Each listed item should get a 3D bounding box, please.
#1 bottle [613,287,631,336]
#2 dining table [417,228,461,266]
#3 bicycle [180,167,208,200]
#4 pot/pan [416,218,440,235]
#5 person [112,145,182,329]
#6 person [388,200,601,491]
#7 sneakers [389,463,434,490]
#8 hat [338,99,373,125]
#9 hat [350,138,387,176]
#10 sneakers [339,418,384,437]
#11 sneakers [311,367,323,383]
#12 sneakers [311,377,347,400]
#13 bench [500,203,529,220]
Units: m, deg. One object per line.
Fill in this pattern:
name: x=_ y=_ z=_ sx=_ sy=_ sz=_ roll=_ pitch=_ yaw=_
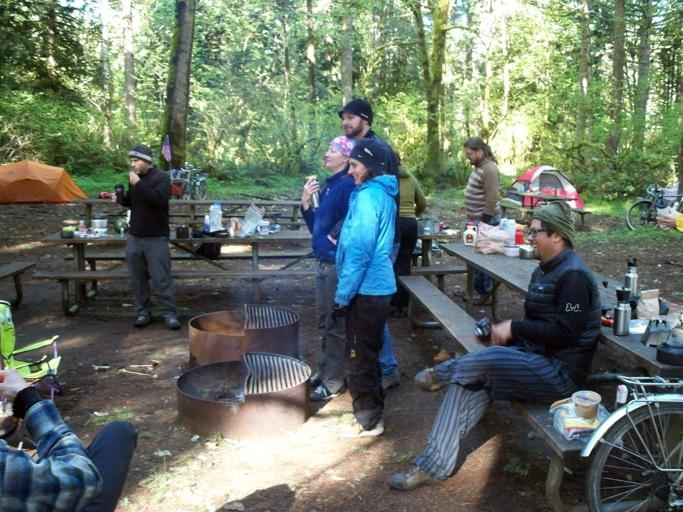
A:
bottle: x=2.006 y=0.382 z=4.040 sx=0.117 sy=0.305 sz=0.327 roll=7 pitch=16 yaw=26
dining table: x=1.517 y=-0.174 z=8.230 sx=0.802 sy=0.637 sz=0.729 roll=0 pitch=6 yaw=0
bicycle: x=-4.214 y=-2.077 z=16.422 sx=0.951 sy=0.782 sz=1.402 roll=1 pitch=6 yaw=3
pot/pan: x=1.214 y=-0.406 z=7.931 sx=0.313 sy=0.193 sz=0.201 roll=1 pitch=12 yaw=7
person: x=-2.312 y=-0.208 z=6.892 sx=0.581 sy=2.228 sz=0.466 roll=-2 pitch=16 yaw=-5
person: x=1.137 y=0.607 z=4.017 sx=1.280 sy=1.923 sz=0.572 roll=-3 pitch=16 yaw=-9
sneakers: x=0.480 y=1.540 z=3.961 sx=0.340 sy=0.118 sz=0.140 roll=0 pitch=5 yaw=-14
hat: x=0.180 y=-1.385 z=5.366 sx=0.324 sy=0.175 sz=0.218 roll=10 pitch=2 yaw=-17
hat: x=0.238 y=-0.775 z=4.427 sx=0.300 sy=0.287 sz=0.145 roll=-8 pitch=17 yaw=-28
sneakers: x=0.165 y=1.396 z=4.636 sx=0.361 sy=0.126 sz=0.130 roll=2 pitch=-1 yaw=2
sneakers: x=-0.224 y=1.141 z=5.404 sx=0.085 sy=0.124 sz=0.052 roll=13 pitch=-6 yaw=9
sneakers: x=-0.058 y=1.226 z=5.242 sx=0.424 sy=0.149 sz=0.140 roll=0 pitch=6 yaw=-22
bench: x=4.908 y=-1.261 z=16.009 sx=1.019 sy=0.307 sz=1.427 roll=-2 pitch=9 yaw=-4
